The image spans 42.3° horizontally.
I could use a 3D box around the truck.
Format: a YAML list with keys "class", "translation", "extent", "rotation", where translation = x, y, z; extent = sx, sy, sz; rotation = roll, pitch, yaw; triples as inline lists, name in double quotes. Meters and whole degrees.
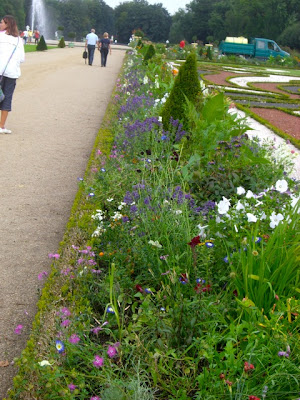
- class: "truck"
  translation: [9.227, -14.325, 36.208]
  extent: [7.450, 2.339, 2.801]
  rotation: [1, 41, -2]
